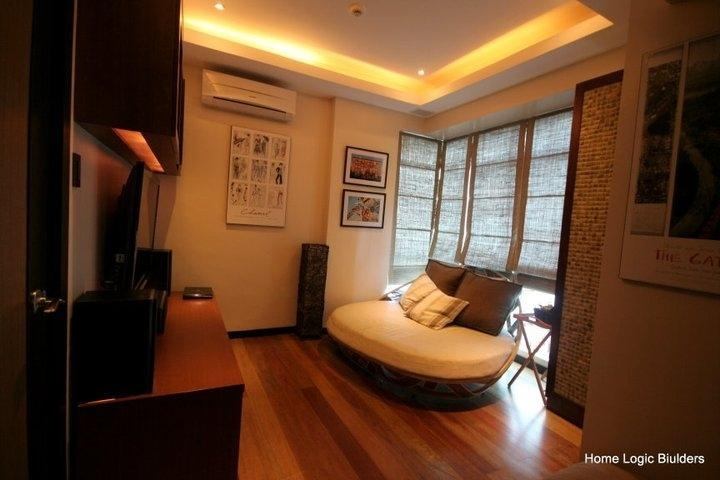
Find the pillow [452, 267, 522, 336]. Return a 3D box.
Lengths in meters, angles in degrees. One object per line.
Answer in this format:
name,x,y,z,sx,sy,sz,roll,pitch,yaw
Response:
pillow,1.203,0.586,4.524,0.235,0.546,0.533,35,-6,-37

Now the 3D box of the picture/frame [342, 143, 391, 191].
picture/frame,0.043,-0.843,5.536,0.575,0.428,0.025,3,4,-33

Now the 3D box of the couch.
couch,0.706,0.828,4.252,1.246,0.667,1.358,1,6,-30

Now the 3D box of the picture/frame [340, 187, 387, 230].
picture/frame,0.009,-0.365,5.557,0.503,0.378,0.019,-2,5,-35

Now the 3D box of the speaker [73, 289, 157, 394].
speaker,-1.374,0.651,2.655,0.473,0.522,0.471,-8,-23,-12

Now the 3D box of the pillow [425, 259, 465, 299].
pillow,0.864,0.464,5.174,0.455,0.393,0.165,19,-13,44
